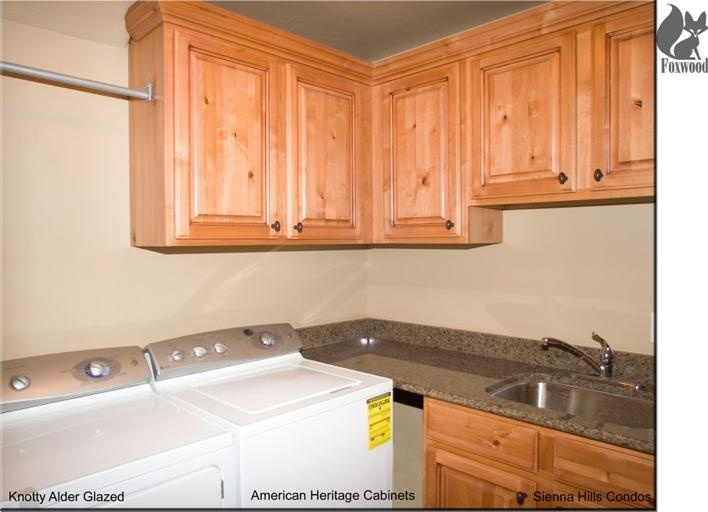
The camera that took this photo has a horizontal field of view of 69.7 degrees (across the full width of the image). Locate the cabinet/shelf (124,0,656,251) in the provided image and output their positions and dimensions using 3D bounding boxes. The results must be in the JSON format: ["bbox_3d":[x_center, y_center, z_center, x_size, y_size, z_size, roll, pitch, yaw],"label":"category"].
[{"bbox_3d":[0.183,-0.610,2.226,1.511,0.752,1.395,1,2,42],"label":"cabinet/shelf"}]
